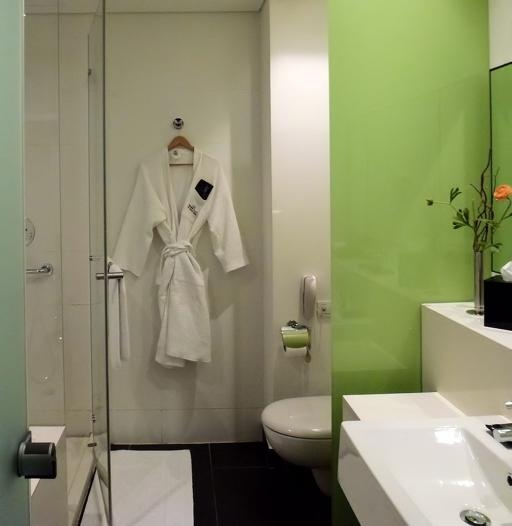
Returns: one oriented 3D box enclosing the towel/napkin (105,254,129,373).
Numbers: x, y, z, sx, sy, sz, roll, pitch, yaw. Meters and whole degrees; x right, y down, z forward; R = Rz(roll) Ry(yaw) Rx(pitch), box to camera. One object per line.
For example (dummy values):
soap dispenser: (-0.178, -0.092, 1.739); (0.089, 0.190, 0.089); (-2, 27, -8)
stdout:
towel/napkin: (-0.614, 0.227, 2.128); (0.100, 0.498, 0.111); (-4, 5, -18)

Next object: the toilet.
toilet: (0.171, 0.700, 1.936); (0.300, 0.282, 0.294); (-1, -3, -5)

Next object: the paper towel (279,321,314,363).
paper towel: (0.173, 0.366, 2.111); (0.119, 0.145, 0.112); (-5, -28, -1)
